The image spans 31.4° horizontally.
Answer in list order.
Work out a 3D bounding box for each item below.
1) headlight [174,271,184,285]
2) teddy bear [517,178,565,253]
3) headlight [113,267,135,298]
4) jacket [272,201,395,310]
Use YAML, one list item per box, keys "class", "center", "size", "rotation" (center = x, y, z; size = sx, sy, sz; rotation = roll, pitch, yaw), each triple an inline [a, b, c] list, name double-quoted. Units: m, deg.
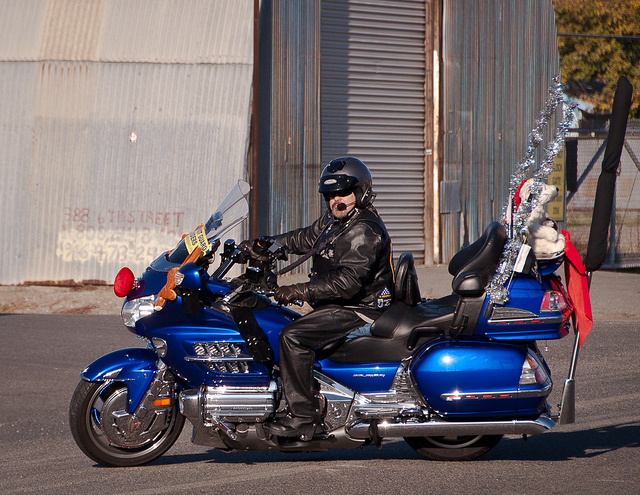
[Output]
- class: "headlight"
  center: [-1.685, 0.378, 13.659]
  size: [0.122, 0.124, 0.043]
  rotation: [0, -11, 21]
- class: "teddy bear"
  center: [2.783, -0.405, 14.082]
  size: [0.491, 0.988, 0.482]
  rotation: [-3, 7, -23]
- class: "headlight"
  center: [-2.518, 0.468, 14.665]
  size: [0.225, 0.526, 0.425]
  rotation: [5, 44, -12]
- class: "jacket"
  center: [0.221, 0.215, 14.299]
  size: [1.483, 1.063, 1.232]
  rotation: [0, 30, -15]
